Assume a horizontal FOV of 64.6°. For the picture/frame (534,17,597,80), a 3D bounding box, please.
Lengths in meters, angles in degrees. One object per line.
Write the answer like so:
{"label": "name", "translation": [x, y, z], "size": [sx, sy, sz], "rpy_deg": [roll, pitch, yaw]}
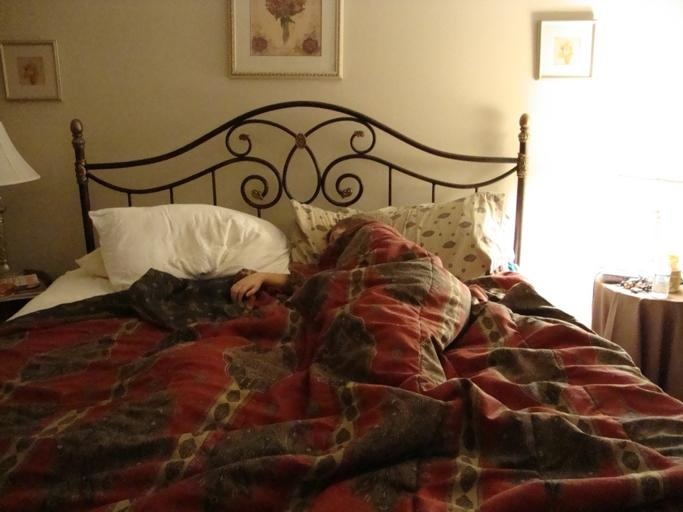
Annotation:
{"label": "picture/frame", "translation": [1.127, -1.049, 2.692], "size": [0.271, 0.279, 0.036], "rpy_deg": [-1, 13, 2]}

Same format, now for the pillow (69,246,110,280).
{"label": "pillow", "translation": [-1.108, 0.037, 2.390], "size": [0.139, 0.050, 0.150], "rpy_deg": [-14, 33, -29]}
